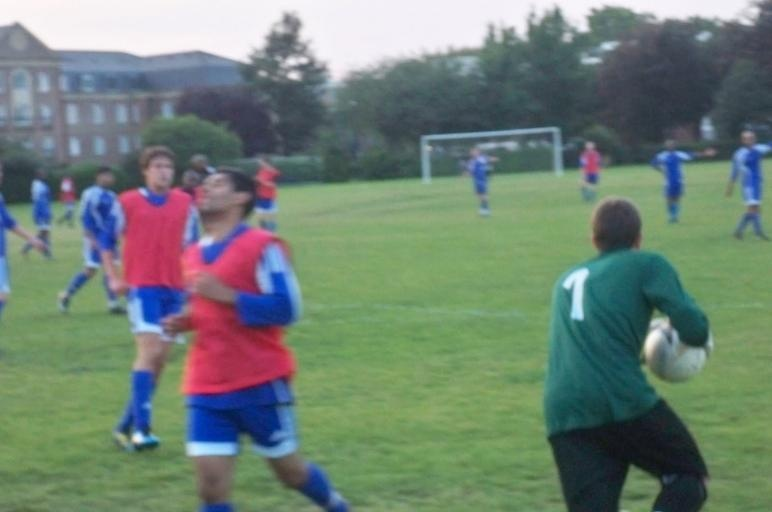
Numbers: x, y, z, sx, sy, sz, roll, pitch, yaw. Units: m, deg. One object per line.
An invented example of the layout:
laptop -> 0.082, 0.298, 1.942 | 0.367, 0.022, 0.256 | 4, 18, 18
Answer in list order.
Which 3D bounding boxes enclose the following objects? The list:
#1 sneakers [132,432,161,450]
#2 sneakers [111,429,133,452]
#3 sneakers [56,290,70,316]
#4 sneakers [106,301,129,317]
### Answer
sneakers -> -3.555, 2.716, 17.172 | 0.474, 0.176, 0.195 | 1, 6, -20
sneakers -> -3.889, 2.725, 17.258 | 0.310, 0.301, 0.241 | -22, -26, -9
sneakers -> -6.017, 0.836, 22.048 | 0.278, 0.518, 0.206 | -2, 2, 36
sneakers -> -5.058, 0.966, 22.064 | 0.395, 0.137, 0.187 | 1, 10, 8
